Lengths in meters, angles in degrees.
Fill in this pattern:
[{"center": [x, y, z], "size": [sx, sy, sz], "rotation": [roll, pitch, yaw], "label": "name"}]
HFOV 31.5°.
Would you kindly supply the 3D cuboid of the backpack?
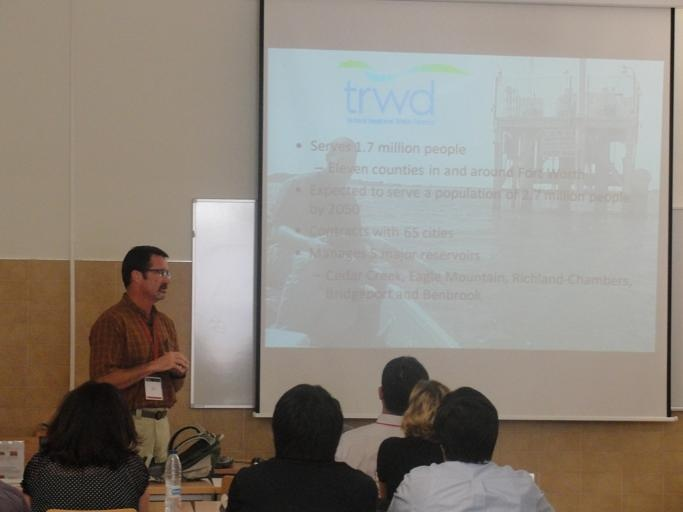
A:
[{"center": [-1.014, 1.284, 7.770], "size": [0.331, 0.349, 0.420], "rotation": [-16, -3, -40], "label": "backpack"}]
